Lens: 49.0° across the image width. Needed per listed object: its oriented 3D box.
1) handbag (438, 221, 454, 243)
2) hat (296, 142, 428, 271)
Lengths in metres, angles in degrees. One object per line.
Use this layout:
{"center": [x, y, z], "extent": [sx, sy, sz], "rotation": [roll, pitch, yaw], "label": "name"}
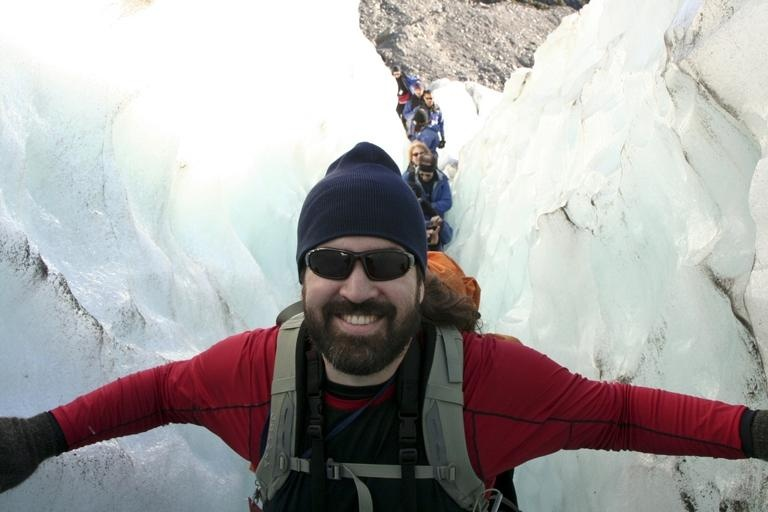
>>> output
{"center": [0.497, -0.200, 6.897], "extent": [0.118, 0.165, 0.057], "rotation": [-1, 7, -21], "label": "handbag"}
{"center": [-0.163, -0.188, 4.183], "extent": [0.554, 0.630, 0.616], "rotation": [3, -21, -12], "label": "hat"}
